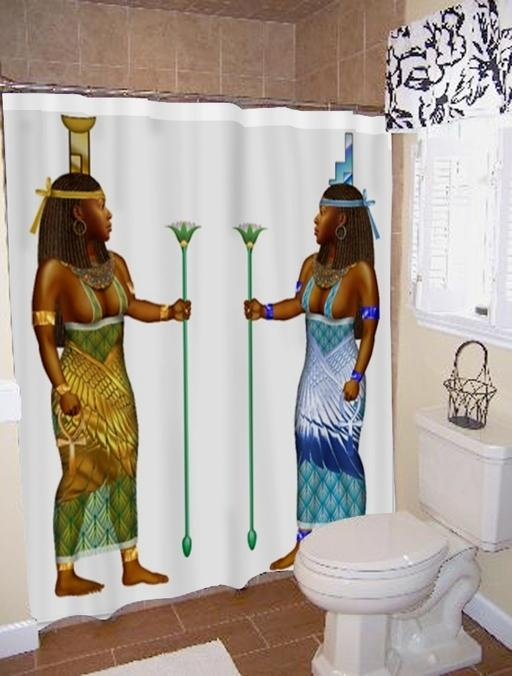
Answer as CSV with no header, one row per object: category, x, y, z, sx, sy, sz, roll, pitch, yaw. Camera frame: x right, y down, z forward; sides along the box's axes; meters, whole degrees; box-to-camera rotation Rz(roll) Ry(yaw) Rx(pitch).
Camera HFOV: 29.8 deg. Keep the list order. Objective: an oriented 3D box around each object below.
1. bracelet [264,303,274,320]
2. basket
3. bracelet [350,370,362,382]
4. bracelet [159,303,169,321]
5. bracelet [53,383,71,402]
bracelet,0.041,-0.081,3.175,0.028,0.049,0.043,0,4,0
basket,0.671,0.150,3.012,0.128,0.314,0.195,0,8,-13
bracelet,0.343,0.132,3.299,0.029,0.034,0.040,1,-4,1
bracelet,-0.289,-0.076,3.029,0.027,0.047,0.019,2,3,-10
bracelet,-0.589,0.169,2.911,0.042,0.033,0.041,-22,-7,-2
